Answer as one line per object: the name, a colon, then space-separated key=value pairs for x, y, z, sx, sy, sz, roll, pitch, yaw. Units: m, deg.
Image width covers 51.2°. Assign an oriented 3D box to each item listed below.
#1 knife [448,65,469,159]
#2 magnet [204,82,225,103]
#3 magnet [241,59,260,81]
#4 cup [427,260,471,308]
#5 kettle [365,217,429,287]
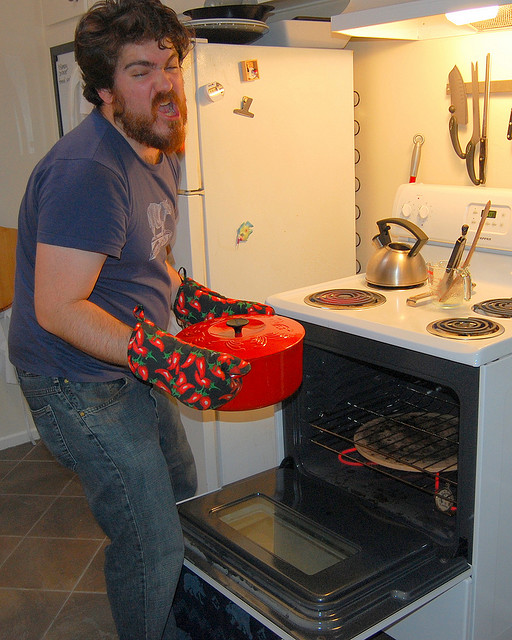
knife: x=0.644 y=-0.646 z=1.695 sx=0.061 sy=0.278 sz=0.139 roll=-3 pitch=9 yaw=20
magnet: x=-0.123 y=-0.676 z=1.585 sx=0.055 sy=0.054 sz=0.051 roll=8 pitch=7 yaw=26
magnet: x=-0.021 y=-0.767 z=1.646 sx=0.063 sy=0.056 sz=0.020 roll=-23 pitch=26 yaw=-36
cup: x=0.417 y=-0.085 z=1.194 sx=0.091 sy=0.101 sz=0.106 roll=-7 pitch=18 yaw=-17
kettle: x=0.368 y=-0.176 z=1.394 sx=0.167 sy=0.159 sz=0.171 roll=-10 pitch=23 yaw=-24
